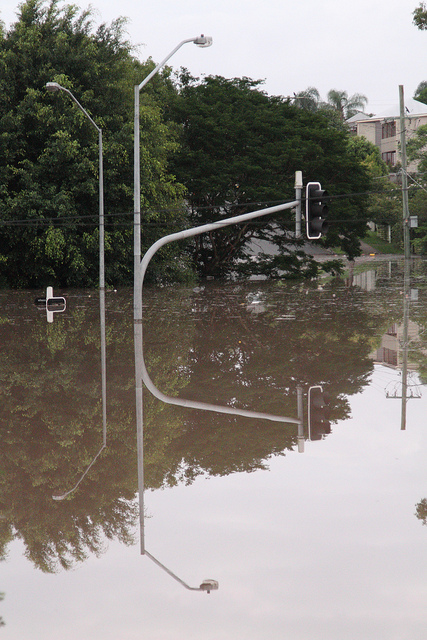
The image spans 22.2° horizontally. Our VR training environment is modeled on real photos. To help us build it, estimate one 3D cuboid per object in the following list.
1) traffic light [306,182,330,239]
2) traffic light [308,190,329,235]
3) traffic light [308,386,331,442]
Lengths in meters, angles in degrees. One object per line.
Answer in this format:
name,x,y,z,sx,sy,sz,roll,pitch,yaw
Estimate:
traffic light,1.629,-1.746,17.051,0.295,1.070,0.303,-2,2,11
traffic light,1.654,-1.714,17.165,0.303,0.743,1.179,2,8,6
traffic light,1.165,1.076,12.253,0.184,0.642,0.226,0,-6,11
